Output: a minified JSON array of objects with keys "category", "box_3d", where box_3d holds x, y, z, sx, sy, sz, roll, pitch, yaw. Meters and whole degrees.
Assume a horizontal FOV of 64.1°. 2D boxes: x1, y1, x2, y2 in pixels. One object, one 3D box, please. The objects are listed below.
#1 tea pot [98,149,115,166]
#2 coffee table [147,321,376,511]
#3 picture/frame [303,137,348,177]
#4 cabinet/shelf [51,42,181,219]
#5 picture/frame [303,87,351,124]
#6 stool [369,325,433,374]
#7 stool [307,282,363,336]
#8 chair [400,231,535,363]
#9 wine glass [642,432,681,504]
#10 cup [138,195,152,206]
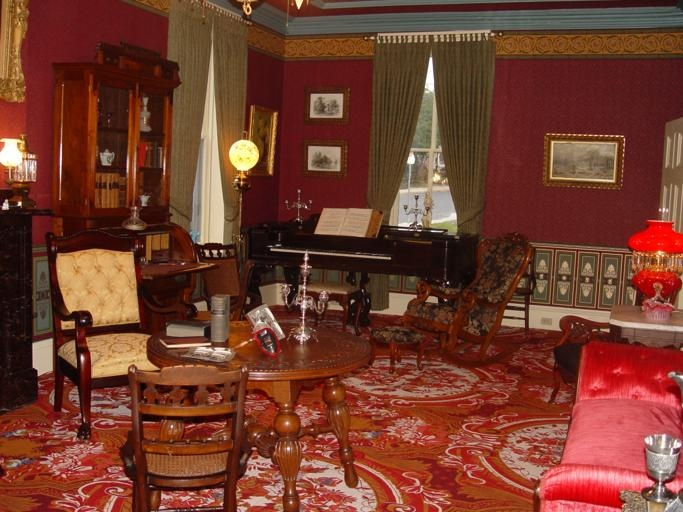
[{"category":"tea pot","box_3d":[-2.356,-0.986,5.470,0.112,0.148,0.157,-1,-3,34]},{"category":"coffee table","box_3d":[-0.447,0.991,3.462,1.178,0.692,1.184,-1,8,13]},{"category":"picture/frame","box_3d":[-0.239,-1.641,8.905,0.700,0.540,0.056,2,5,13]},{"category":"cabinet/shelf","box_3d":[-2.310,-1.125,5.597,0.442,1.556,1.153,7,8,36]},{"category":"picture/frame","box_3d":[-0.207,-2.459,8.831,0.674,0.467,0.028,2,4,14]},{"category":"stool","box_3d":[0.613,0.986,5.896,0.535,0.435,0.520,-4,9,-34]},{"category":"stool","box_3d":[-0.070,0.644,6.703,0.765,0.621,0.580,7,13,29]},{"category":"chair","box_3d":[1.418,0.486,6.302,1.341,1.512,1.029,0,7,-17]},{"category":"wine glass","box_3d":[1.000,0.682,1.714,0.099,0.202,0.317,6,8,30]},{"category":"cup","box_3d":[-2.141,-0.605,5.926,0.115,0.079,0.112,-1,4,0]}]
